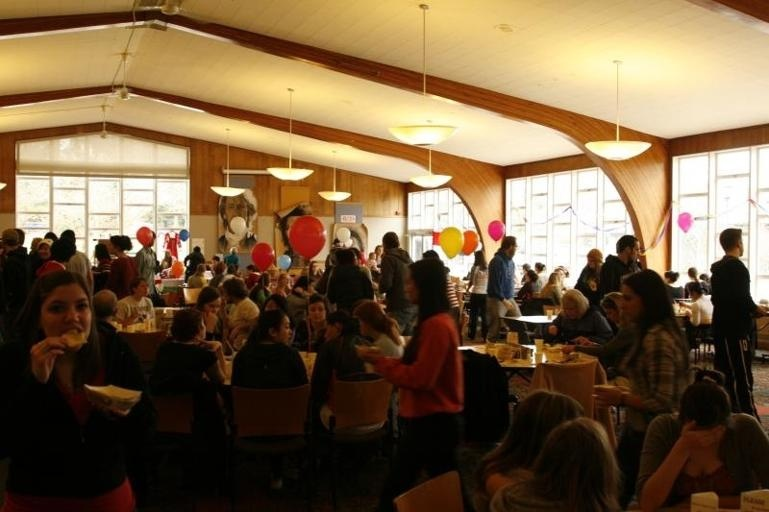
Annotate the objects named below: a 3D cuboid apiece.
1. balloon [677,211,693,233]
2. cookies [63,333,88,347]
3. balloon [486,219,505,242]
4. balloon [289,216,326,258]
[{"bbox_3d":[5.285,-0.609,11.464,0.340,0.402,0.338,2,-1,16],"label":"balloon"},{"bbox_3d":[-1.337,0.364,2.777,0.064,0.024,0.068,7,23,-1],"label":"cookies"},{"bbox_3d":[2.425,-0.560,14.111,0.506,0.597,0.504,4,8,13],"label":"balloon"},{"bbox_3d":[-1.021,-0.235,8.317,0.515,0.607,0.511,0,-2,10],"label":"balloon"}]
